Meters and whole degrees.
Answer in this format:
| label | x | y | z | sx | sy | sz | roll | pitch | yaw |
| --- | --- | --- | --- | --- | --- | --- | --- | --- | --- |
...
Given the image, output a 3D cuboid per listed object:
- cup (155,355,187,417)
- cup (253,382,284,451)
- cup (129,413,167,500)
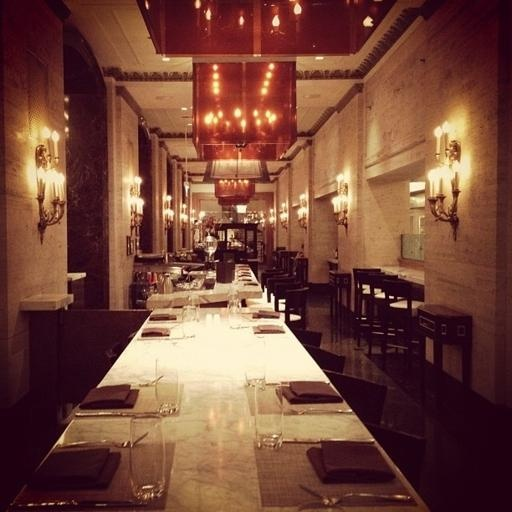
| label | x | y | z | sx | sy | sz | roll | pitch | yaw |
| --- | --- | --- | --- | --- | --- | --- | --- | --- | --- |
| cup | -0.384 | 0.591 | 2.097 | 0.127 | 0.333 | 0.143 | 1 | -5 | -5 |
| cup | 0.047 | 0.550 | 1.683 | 0.101 | 0.244 | 0.174 | 2 | 3 | 3 |
| cup | -0.323 | 0.582 | 1.414 | 0.104 | 0.273 | 0.186 | 1 | 4 | -15 |
